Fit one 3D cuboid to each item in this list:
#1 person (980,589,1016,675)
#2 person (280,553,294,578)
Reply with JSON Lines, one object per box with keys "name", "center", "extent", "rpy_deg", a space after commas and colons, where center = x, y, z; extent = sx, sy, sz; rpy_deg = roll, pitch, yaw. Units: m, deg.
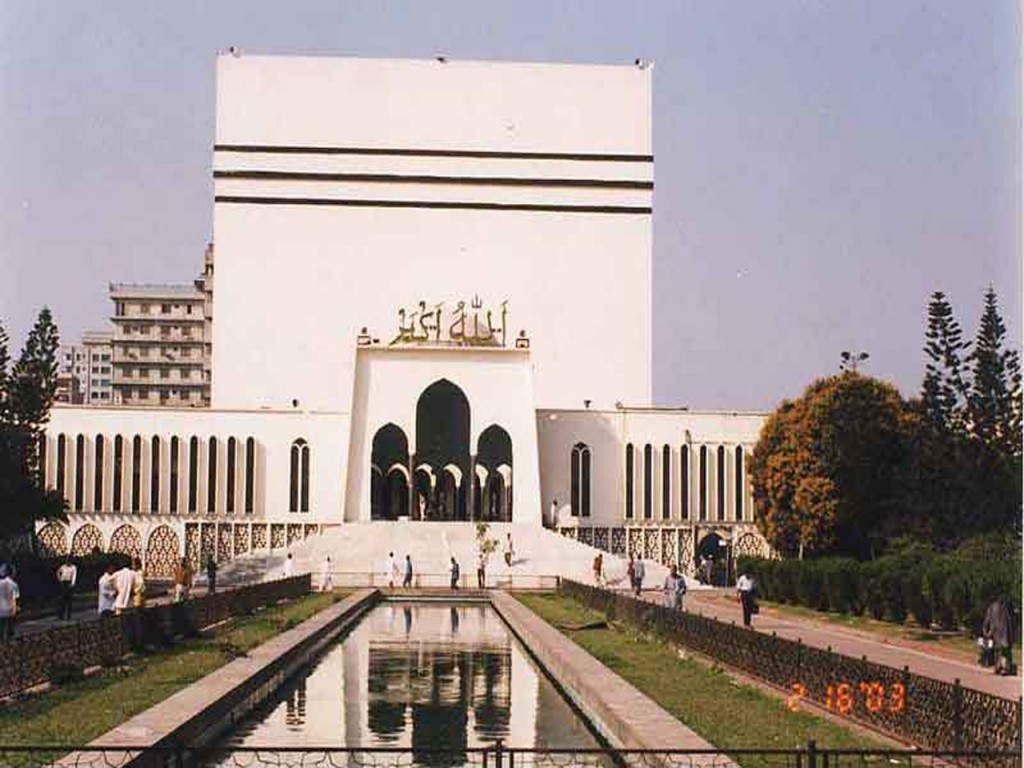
{"name": "person", "center": [9.781, 5.050, 28.494], "extent": [0.548, 1.477, 1.078], "rpy_deg": [-1, -7, 7]}
{"name": "person", "center": [-7.114, 5.736, 45.401], "extent": [0.411, 0.690, 1.497], "rpy_deg": [1, -8, -9]}
